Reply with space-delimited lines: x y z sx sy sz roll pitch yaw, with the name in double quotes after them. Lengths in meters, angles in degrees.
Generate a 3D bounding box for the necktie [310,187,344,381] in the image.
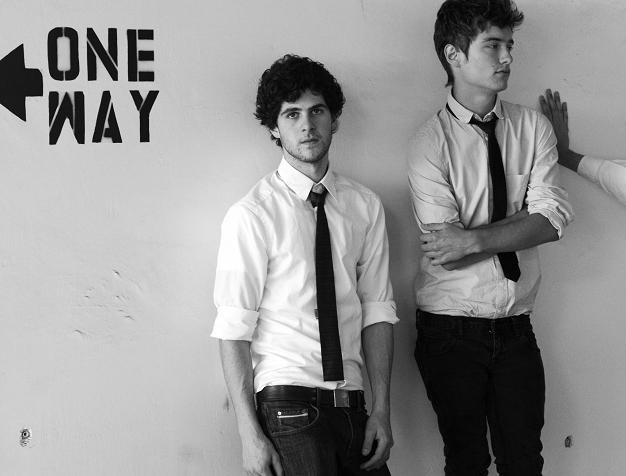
0.055 0.194 3.140 0.095 0.759 0.202 -6 -2 1 "necktie"

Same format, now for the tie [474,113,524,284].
0.900 -0.202 3.355 0.143 1.041 0.139 -3 -5 14 "tie"
